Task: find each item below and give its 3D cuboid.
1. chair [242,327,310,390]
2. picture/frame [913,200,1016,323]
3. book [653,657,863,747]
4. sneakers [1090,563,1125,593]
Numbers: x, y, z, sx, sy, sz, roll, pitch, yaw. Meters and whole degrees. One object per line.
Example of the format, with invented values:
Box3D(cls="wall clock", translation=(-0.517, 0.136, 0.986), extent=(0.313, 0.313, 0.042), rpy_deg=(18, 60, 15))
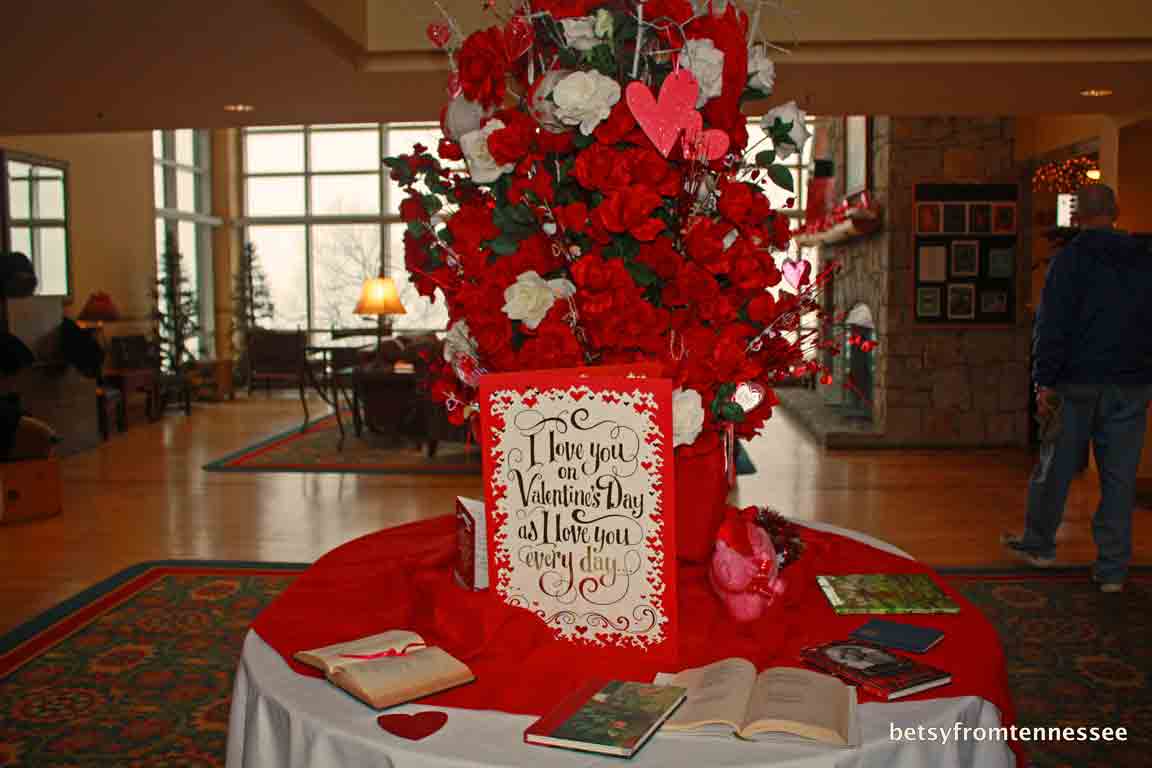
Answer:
Box3D(cls="chair", translation=(-3.990, -0.327, 12.298), extent=(0.924, 1.234, 0.901), rpy_deg=(0, -2, -5))
Box3D(cls="picture/frame", translation=(3.496, -1.132, 8.220), extent=(1.130, 1.482, 0.161), rpy_deg=(0, 0, 1))
Box3D(cls="book", translation=(0.439, 0.773, 2.251), extent=(0.479, 0.143, 0.157), rpy_deg=(0, 9, 5))
Box3D(cls="sneakers", translation=(2.703, 0.984, 4.701), extent=(0.101, 0.155, 0.165), rpy_deg=(-2, -13, 12))
